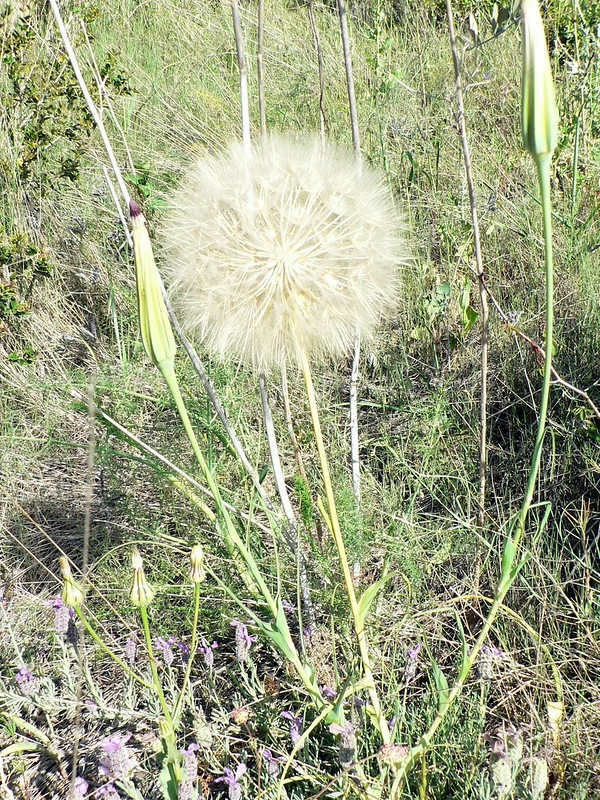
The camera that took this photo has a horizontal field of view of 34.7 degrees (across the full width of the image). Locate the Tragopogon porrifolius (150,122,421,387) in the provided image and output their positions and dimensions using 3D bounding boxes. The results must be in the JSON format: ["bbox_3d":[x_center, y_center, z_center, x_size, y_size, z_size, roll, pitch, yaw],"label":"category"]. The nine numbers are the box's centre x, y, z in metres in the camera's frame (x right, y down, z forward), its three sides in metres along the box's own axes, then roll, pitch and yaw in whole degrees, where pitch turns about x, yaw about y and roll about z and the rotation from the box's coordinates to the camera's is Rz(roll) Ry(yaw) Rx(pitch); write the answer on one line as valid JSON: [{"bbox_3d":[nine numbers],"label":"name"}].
[{"bbox_3d":[-0.049,-0.307,2.181,0.558,0.466,0.551,32,62,25],"label":"Tragopogon porrifolius"}]
